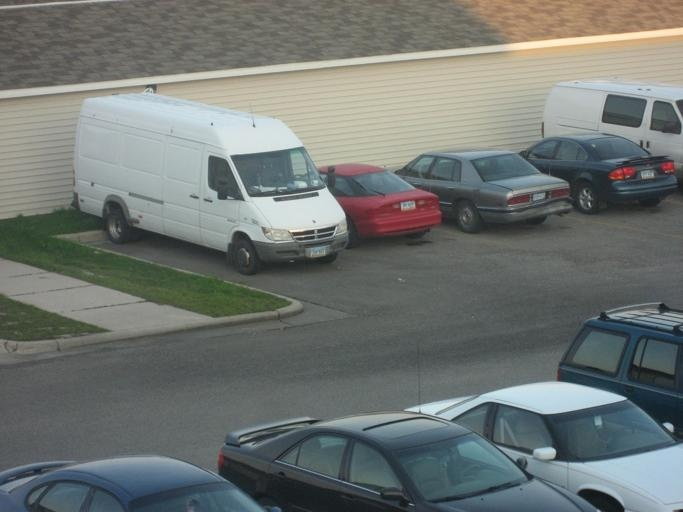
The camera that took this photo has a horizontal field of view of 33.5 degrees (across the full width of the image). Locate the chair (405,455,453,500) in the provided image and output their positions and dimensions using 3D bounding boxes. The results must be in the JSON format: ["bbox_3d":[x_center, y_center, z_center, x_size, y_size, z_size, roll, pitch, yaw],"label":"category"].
[{"bbox_3d":[1.092,2.765,14.385,0.550,0.502,0.660,-10,-8,-11],"label":"chair"}]

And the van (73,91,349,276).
[{"bbox_3d":[-3.090,-1.718,25.698,6.020,3.757,1.969,4,23,38],"label":"van"}]
